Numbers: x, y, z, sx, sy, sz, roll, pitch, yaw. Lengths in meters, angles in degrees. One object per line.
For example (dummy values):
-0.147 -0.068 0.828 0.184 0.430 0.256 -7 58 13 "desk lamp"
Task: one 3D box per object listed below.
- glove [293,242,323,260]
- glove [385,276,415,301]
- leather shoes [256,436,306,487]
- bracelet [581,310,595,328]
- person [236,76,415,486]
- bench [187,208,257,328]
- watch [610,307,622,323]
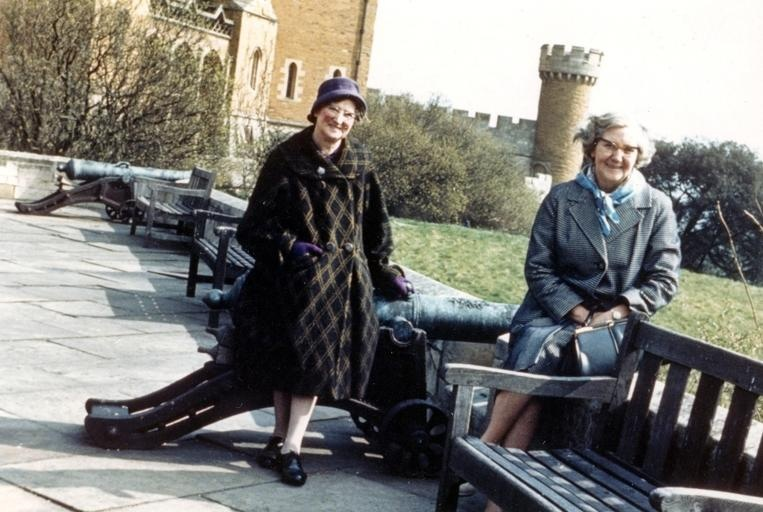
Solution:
-0.415 -0.031 3.908 0.177 0.087 0.047 8 8 -5 "glove"
0.096 0.189 4.384 0.184 0.132 0.076 -11 6 18 "glove"
-0.558 1.151 3.929 0.134 0.151 0.388 12 -2 -30 "leather shoes"
1.149 0.345 3.893 0.033 0.032 0.109 13 43 20 "bracelet"
-0.361 0.107 4.015 0.957 2.264 0.668 7 8 -12 "person"
-1.495 0.126 6.449 0.512 0.825 1.353 5 2 -8 "bench"
1.303 0.320 3.865 0.055 0.068 0.020 4 -13 -11 "watch"
